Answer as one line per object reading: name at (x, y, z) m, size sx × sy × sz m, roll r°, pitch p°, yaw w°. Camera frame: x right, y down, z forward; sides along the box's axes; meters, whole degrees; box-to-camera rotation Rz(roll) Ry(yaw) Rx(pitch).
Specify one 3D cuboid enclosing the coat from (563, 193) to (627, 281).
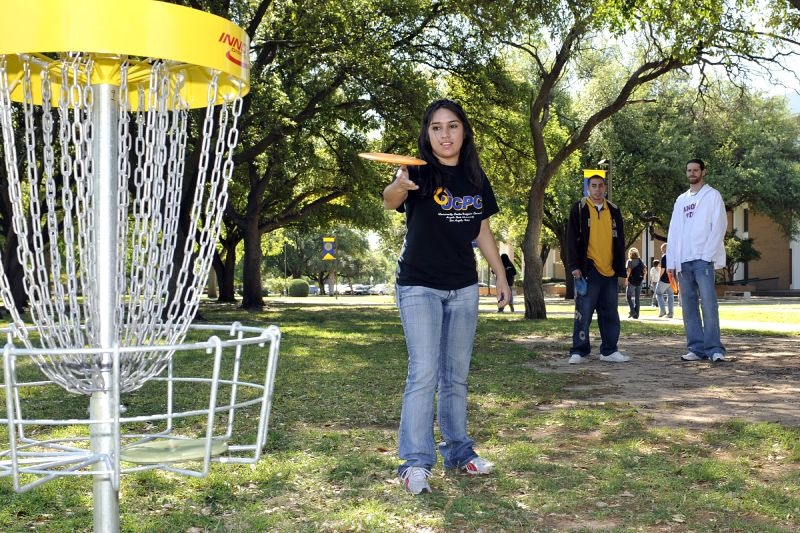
coat at (2.672, -0.295, 10.609) m, size 0.824 × 0.984 × 0.559 m, roll 18°, pitch 12°, yaw 40°

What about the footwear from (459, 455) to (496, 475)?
footwear at (0.582, 1.461, 6.105) m, size 0.227 × 0.084 × 0.110 m, roll -3°, pitch -2°, yaw 20°

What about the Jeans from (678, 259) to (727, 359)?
Jeans at (3.889, 0.547, 10.662) m, size 0.562 × 1.265 × 0.652 m, roll 0°, pitch 2°, yaw 18°

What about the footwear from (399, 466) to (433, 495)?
footwear at (0.109, 1.481, 5.803) m, size 0.218 × 0.154 × 0.269 m, roll -1°, pitch 2°, yaw -1°

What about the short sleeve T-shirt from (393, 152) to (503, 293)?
short sleeve T-shirt at (0.355, -0.289, 6.030) m, size 0.706 × 0.927 × 0.201 m, roll -2°, pitch 2°, yaw -18°

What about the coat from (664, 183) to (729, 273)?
coat at (3.869, -0.482, 10.660) m, size 0.355 × 1.138 × 0.897 m, roll -3°, pitch 3°, yaw -36°
